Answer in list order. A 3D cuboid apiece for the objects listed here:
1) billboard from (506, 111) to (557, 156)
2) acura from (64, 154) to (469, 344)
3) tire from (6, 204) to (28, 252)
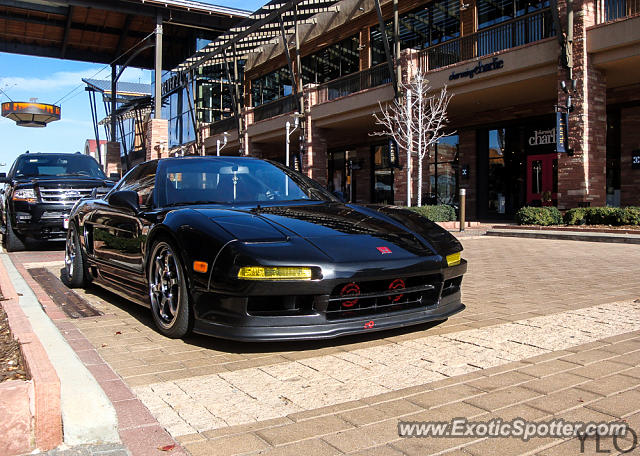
[{"bbox_3d":[9.905,-4.390,20.067,0.414,1.671,2.852,-8,8,-41],"label":"billboard"},{"bbox_3d":[-0.763,0.075,4.485,3.654,1.799,1.875,1,3,40],"label":"acura"},{"bbox_3d":[-6.927,-0.040,9.827,0.408,0.990,1.150,-1,9,-30],"label":"tire"}]
